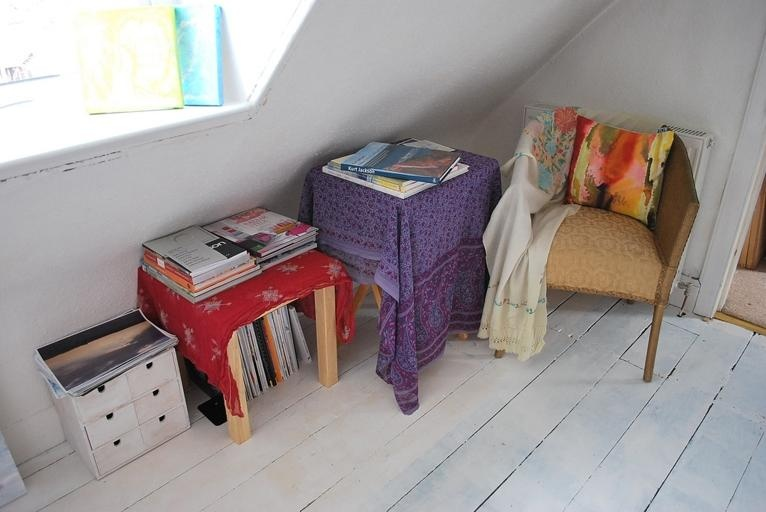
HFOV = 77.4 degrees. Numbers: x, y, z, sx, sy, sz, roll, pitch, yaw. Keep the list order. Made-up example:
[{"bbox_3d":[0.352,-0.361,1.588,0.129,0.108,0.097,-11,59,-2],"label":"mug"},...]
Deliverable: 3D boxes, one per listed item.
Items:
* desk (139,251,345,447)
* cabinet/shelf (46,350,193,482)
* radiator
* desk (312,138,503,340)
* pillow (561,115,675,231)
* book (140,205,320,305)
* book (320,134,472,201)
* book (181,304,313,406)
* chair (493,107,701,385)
[{"bbox_3d":[-0.574,0.330,2.135,0.818,0.597,0.745,-18,31,-30],"label":"desk"},{"bbox_3d":[-1.014,0.605,1.816,0.335,0.320,0.250,-32,43,-30],"label":"cabinet/shelf"},{"bbox_3d":[0.943,-0.248,2.267,0.726,0.881,0.732,10,48,13],"label":"radiator"},{"bbox_3d":[0.011,-0.301,2.356,0.742,0.954,0.760,35,54,23],"label":"desk"},{"bbox_3d":[1.124,-0.420,2.297,0.234,0.427,0.458,-45,46,-18],"label":"pillow"},{"bbox_3d":[-0.586,-0.036,1.917,0.371,0.115,0.490,23,37,36],"label":"book"},{"bbox_3d":[0.086,-0.398,2.097,0.501,0.139,0.493,18,30,33],"label":"book"},{"bbox_3d":[-0.514,0.368,2.094,0.150,0.370,0.494,13,48,-47],"label":"book"},{"bbox_3d":[0.923,-0.054,2.307,0.937,0.968,0.808,-6,33,1],"label":"chair"}]
